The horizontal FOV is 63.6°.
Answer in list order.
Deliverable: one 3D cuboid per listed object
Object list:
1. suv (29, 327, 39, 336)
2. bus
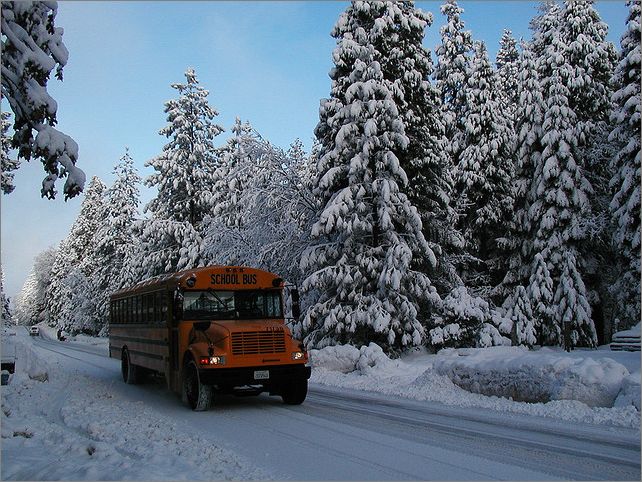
[{"bbox_3d":[-40.732,12.872,73.768,1.040,1.092,2.469,1,-2,-22],"label":"suv"},{"bbox_3d":[-4.712,3.225,18.447,3.592,4.725,10.082,5,-10,-38],"label":"bus"}]
